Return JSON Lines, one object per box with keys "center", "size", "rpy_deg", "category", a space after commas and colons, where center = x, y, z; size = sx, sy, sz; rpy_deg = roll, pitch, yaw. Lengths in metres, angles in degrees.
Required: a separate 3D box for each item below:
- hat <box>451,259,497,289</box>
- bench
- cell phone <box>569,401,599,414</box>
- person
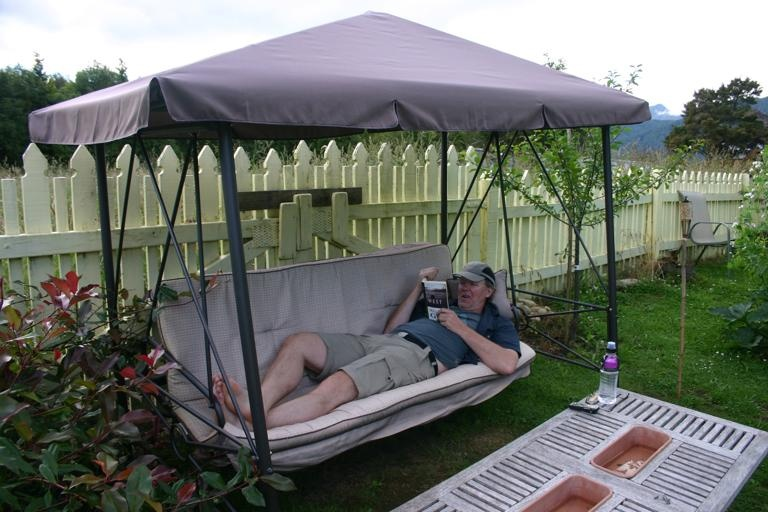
{"center": [0.882, 0.198, 5.330], "size": [0.309, 0.165, 0.224], "rpy_deg": [26, -7, -23], "category": "hat"}
{"center": [-0.349, 0.727, 4.786], "size": [2.777, 1.439, 1.239], "rpy_deg": [-6, 5, -30], "category": "bench"}
{"center": [1.599, 1.220, 4.533], "size": [0.157, 0.037, 0.096], "rpy_deg": [5, 8, 23], "category": "cell phone"}
{"center": [-0.048, 0.524, 4.671], "size": [2.248, 0.917, 1.119], "rpy_deg": [-6, 6, -36], "category": "person"}
